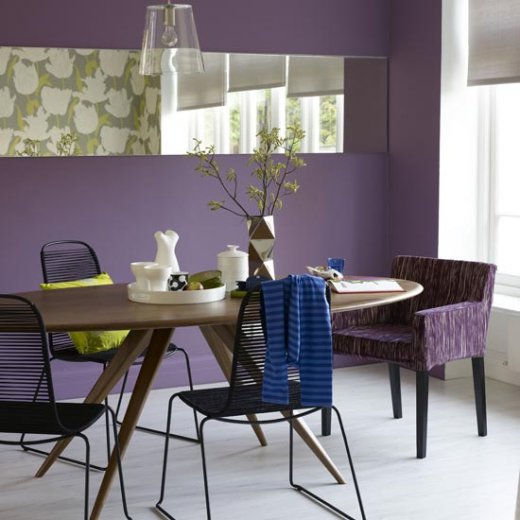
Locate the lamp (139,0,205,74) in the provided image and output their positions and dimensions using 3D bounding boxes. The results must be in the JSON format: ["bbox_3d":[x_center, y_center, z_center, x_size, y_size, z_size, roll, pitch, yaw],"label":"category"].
[{"bbox_3d":[-0.308,-0.799,2.010,0.194,0.245,0.252,0,4,28],"label":"lamp"}]

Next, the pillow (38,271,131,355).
[{"bbox_3d":[-0.797,0.231,2.511,0.112,0.420,0.395,-21,3,9],"label":"pillow"}]

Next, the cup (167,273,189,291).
[{"bbox_3d":[-0.296,0.077,1.979,0.063,0.074,0.055,-1,5,-18],"label":"cup"}]

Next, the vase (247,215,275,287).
[{"bbox_3d":[0.004,-0.046,2.118,0.101,0.248,0.188,-2,4,-2],"label":"vase"}]

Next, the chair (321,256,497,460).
[{"bbox_3d":[0.671,0.339,3.083,0.839,1.364,0.909,0,1,-43],"label":"chair"}]

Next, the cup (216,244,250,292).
[{"bbox_3d":[-0.102,0.035,2.252,0.144,0.231,0.151,-1,2,0],"label":"cup"}]

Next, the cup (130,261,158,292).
[{"bbox_3d":[-0.443,0.061,2.063,0.090,0.121,0.097,0,4,0],"label":"cup"}]

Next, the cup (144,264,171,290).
[{"bbox_3d":[-0.376,0.060,2.018,0.078,0.101,0.085,-2,4,0],"label":"cup"}]

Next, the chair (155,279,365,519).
[{"bbox_3d":[-0.005,0.483,1.859,0.733,0.867,0.672,-3,4,-11],"label":"chair"}]
